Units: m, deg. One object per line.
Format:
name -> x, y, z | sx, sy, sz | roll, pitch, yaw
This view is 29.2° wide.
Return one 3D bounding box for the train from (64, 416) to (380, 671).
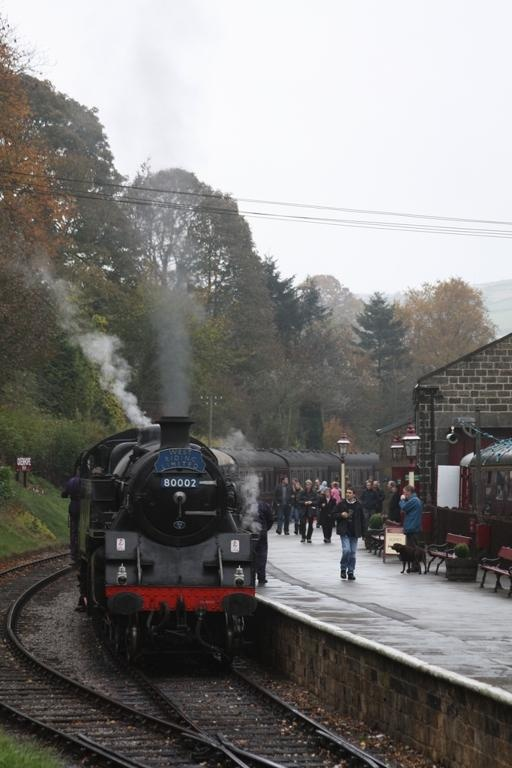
train -> -1.197, 1.961, 12.437 | 1.991, 3.036, 3.480 | -3, -3, -10
